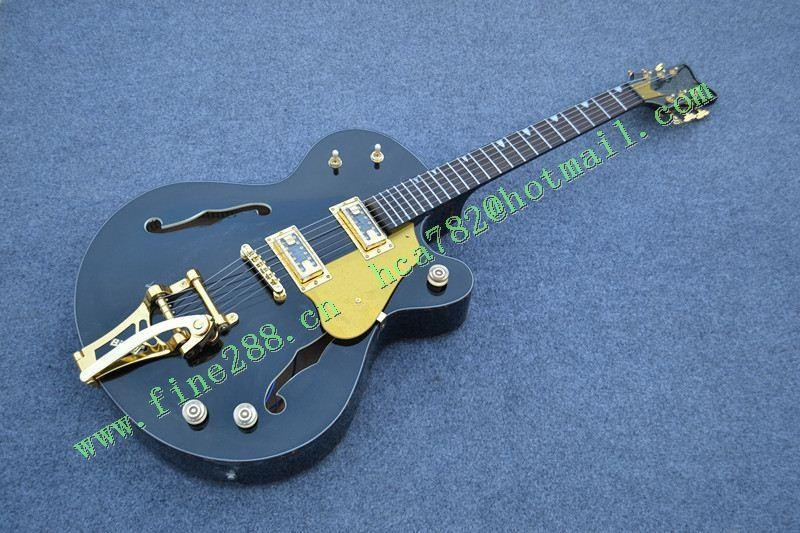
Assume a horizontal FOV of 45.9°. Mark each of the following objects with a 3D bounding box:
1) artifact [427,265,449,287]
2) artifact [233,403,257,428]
[{"bbox_3d":[0.182,0.044,4.468,0.087,0.097,0.058,-9,15,36],"label":"artifact"},{"bbox_3d":[-0.680,0.663,4.151,0.105,0.112,0.045,1,-10,-2],"label":"artifact"}]
